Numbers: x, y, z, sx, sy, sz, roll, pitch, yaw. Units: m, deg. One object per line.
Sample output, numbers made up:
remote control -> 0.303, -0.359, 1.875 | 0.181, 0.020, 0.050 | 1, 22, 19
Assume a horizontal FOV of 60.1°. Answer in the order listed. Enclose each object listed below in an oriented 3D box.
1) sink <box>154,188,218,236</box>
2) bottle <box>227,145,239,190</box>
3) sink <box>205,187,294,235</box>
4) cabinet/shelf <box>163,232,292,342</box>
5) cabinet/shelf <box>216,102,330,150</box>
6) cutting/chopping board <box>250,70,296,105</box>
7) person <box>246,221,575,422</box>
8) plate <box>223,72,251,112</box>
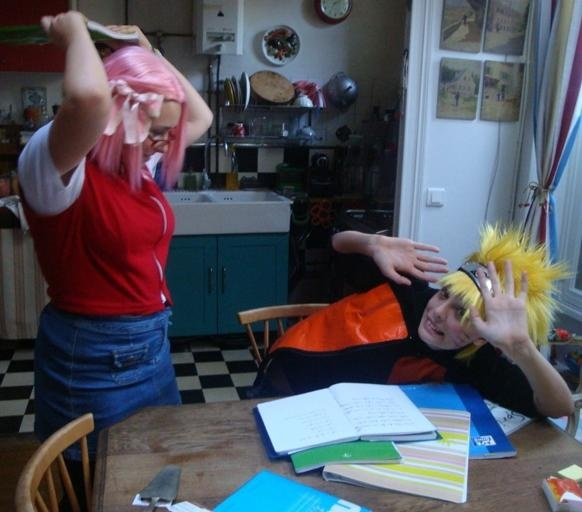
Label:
sink -> -0.667, -0.274, 3.379 | 0.358, 0.228, 0.356 | -1, 12, -8
bottle -> -0.457, -0.699, 3.892 | 0.100, 0.335, 0.183 | -1, 14, -7
sink -> -0.351, -0.334, 3.609 | 0.652, 0.225, 0.722 | -4, 16, -15
cabinet/shelf -> -0.410, 0.155, 3.093 | 0.666, 0.576, 0.261 | -2, 7, -14
cabinet/shelf -> -0.114, -1.009, 3.789 | 0.690, 0.253, 0.241 | -10, 26, -22
cutting/chopping board -> -0.137, -1.242, 3.686 | 0.330, 0.241, 0.146 | 0, 14, -2
person -> 0.418, 0.190, 1.648 | 0.829, 0.500, 0.322 | -15, 7, 27
plate -> -0.381, -1.191, 3.621 | 0.056, 0.258, 0.247 | 6, 2, -39
